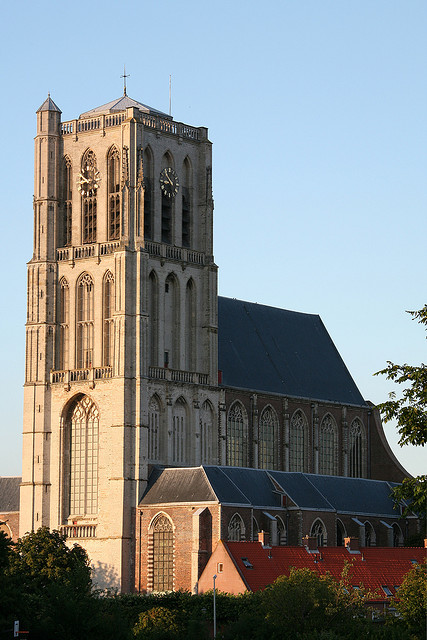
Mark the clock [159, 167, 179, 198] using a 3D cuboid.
[{"bbox_3d":[-2.781,-8.336,112.825,0.114,1.867,1.606,-8,-8,28],"label":"clock"}]

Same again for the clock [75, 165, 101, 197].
[{"bbox_3d":[-7.651,-8.403,112.393,1.340,1.602,0.147,-24,-24,37],"label":"clock"}]
